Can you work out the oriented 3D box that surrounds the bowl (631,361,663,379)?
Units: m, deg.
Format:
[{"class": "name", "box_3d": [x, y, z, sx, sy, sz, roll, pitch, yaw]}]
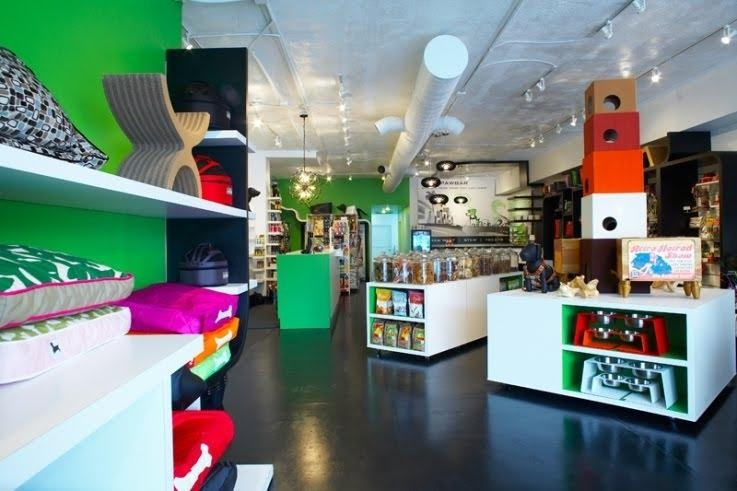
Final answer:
[{"class": "bowl", "box_3d": [2.212, 0.993, 3.734, 0.174, 0.142, 0.134, 4, 10, 30]}]

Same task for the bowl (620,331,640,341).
[{"class": "bowl", "box_3d": [2.134, 0.736, 3.834, 0.104, 0.050, 0.130, -2, -8, 32]}]

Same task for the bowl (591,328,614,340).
[{"class": "bowl", "box_3d": [1.978, 0.728, 3.977, 0.155, 0.056, 0.157, 1, -4, 0]}]

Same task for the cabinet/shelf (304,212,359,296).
[{"class": "cabinet/shelf", "box_3d": [-1.226, 0.003, 12.316, 0.814, 1.592, 1.776, -1, 0, 44]}]

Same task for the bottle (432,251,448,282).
[{"class": "bottle", "box_3d": [0.842, 0.267, 5.431, 0.169, 0.277, 0.174, -5, -10, -1]}]

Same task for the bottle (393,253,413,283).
[{"class": "bottle", "box_3d": [0.392, 0.272, 5.373, 0.211, 0.298, 0.304, -8, 11, -37]}]

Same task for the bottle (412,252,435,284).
[{"class": "bottle", "box_3d": [0.638, 0.260, 5.275, 0.225, 0.313, 0.221, -3, 0, 0]}]

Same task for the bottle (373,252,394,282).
[{"class": "bottle", "box_3d": [0.173, 0.260, 5.534, 0.285, 0.395, 0.288, 1, 1, 0]}]

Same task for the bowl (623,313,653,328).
[{"class": "bowl", "box_3d": [2.171, 0.604, 3.786, 0.195, 0.069, 0.165, 1, -2, 22]}]

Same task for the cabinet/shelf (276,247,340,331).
[{"class": "cabinet/shelf", "box_3d": [-1.010, 0.841, 8.589, 0.853, 1.156, 2.594, -1, -5, 1]}]

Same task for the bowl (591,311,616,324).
[{"class": "bowl", "box_3d": [1.960, 0.599, 3.899, 0.148, 0.056, 0.154, 2, -2, 0]}]
